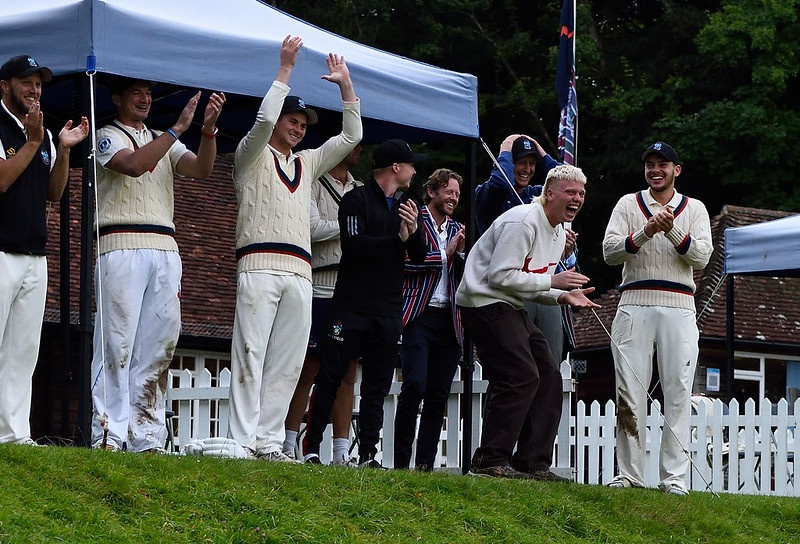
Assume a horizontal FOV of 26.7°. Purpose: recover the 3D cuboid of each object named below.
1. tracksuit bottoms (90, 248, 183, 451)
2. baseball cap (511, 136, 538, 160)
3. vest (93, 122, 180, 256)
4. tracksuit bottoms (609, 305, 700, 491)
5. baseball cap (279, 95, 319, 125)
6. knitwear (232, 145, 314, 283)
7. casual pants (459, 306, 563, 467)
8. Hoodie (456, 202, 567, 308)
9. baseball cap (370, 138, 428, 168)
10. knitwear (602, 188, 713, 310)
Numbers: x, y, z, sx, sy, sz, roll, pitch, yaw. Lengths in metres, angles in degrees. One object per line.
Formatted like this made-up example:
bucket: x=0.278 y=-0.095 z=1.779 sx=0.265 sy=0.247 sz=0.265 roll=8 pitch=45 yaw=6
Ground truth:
tracksuit bottoms: x=-2.689 y=0.785 z=16.991 sx=0.868 sy=2.031 sz=0.691 roll=7 pitch=8 yaw=-10
baseball cap: x=1.374 y=-1.347 z=18.421 sx=0.216 sy=0.160 sz=0.278 roll=-4 pitch=7 yaw=-27
vest: x=-2.687 y=-0.829 z=17.068 sx=1.008 sy=1.400 sz=0.709 roll=12 pitch=-27 yaw=-41
tracksuit bottoms: x=2.657 y=1.294 z=17.802 sx=1.033 sy=1.887 sz=0.581 roll=10 pitch=8 yaw=8
baseball cap: x=-1.046 y=-1.680 z=17.488 sx=0.320 sy=0.182 sz=0.244 roll=13 pitch=2 yaw=10
knitwear: x=-1.286 y=-0.603 z=17.219 sx=0.974 sy=1.584 sz=0.622 roll=15 pitch=-28 yaw=-35
casual pants: x=1.157 y=1.185 z=17.395 sx=1.064 sy=1.680 sz=0.584 roll=9 pitch=8 yaw=2
Hoodie: x=1.166 y=-0.153 z=17.435 sx=1.181 sy=0.990 sz=0.916 roll=0 pitch=-20 yaw=30
baseball cap: x=-0.043 y=-1.260 z=17.905 sx=0.411 sy=0.222 sz=0.290 roll=-17 pitch=13 yaw=0
knitwear: x=2.770 y=-0.176 z=18.177 sx=1.475 sy=1.679 sz=1.138 roll=1 pitch=-20 yaw=4
